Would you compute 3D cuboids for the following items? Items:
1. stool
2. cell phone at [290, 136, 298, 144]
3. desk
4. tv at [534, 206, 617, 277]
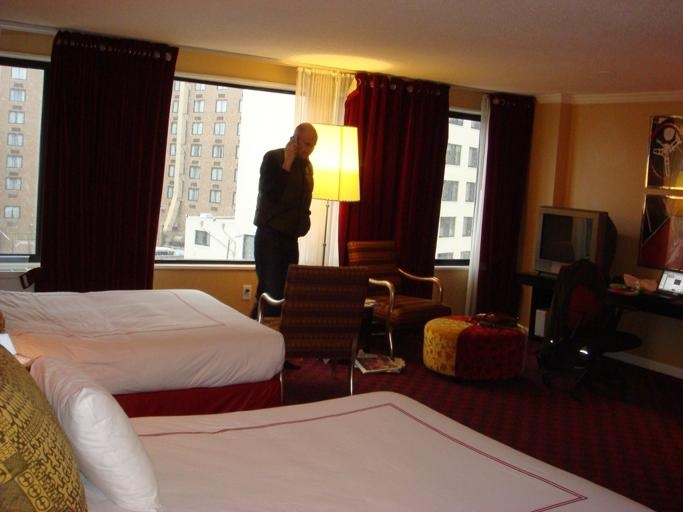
[{"bbox_3d":[1.237,0.853,4.993,0.918,0.551,0.953,0,3,-23],"label":"stool"},{"bbox_3d":[-0.394,-0.996,4.444,0.055,0.088,0.028,0,-4,29],"label":"cell phone"},{"bbox_3d":[2.085,0.470,5.266,0.630,0.797,0.797,-5,8,-37],"label":"desk"},{"bbox_3d":[2.548,-0.120,5.722,0.453,0.843,0.802,9,-1,-30],"label":"tv"}]
